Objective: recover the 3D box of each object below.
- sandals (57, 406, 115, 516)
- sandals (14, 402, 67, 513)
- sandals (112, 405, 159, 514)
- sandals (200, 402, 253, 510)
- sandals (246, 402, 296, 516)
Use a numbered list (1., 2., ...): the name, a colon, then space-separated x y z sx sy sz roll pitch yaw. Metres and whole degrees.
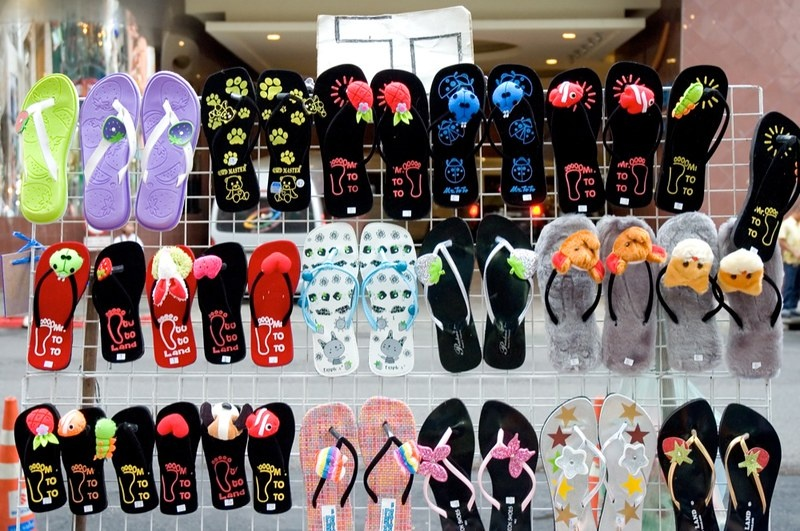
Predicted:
1. sandals: -1.617 1.004 5.533 0.268 0.547 0.055 1 6 0
2. sandals: -1.844 0.974 5.530 0.228 0.554 0.054 -3 3 1
3. sandals: -1.361 0.998 5.649 0.247 0.525 0.163 -2 7 -2
4. sandals: -0.889 0.979 5.632 0.262 0.555 0.090 -1 2 -12
5. sandals: -0.657 0.981 5.645 0.240 0.564 0.073 1 4 1
